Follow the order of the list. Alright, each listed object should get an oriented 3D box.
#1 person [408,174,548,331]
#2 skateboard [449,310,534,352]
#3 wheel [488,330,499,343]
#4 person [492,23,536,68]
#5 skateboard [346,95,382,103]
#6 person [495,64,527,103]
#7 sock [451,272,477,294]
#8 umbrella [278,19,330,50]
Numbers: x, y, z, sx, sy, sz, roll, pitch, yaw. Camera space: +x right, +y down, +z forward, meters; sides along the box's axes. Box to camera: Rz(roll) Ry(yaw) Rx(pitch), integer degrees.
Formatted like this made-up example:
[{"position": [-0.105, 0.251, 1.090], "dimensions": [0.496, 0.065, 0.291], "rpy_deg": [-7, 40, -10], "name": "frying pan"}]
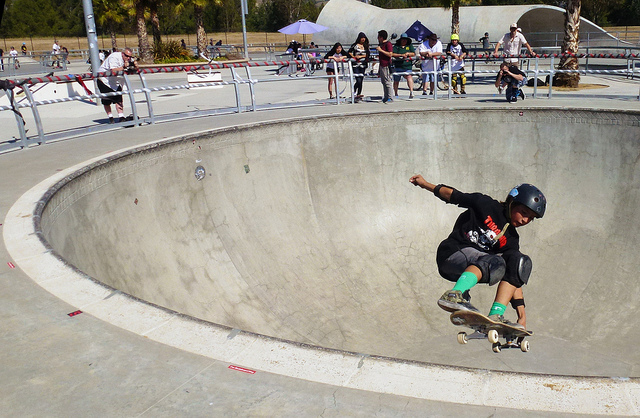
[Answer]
[{"position": [1.687, 0.490, 5.985], "dimensions": [1.535, 1.167, 1.860], "rpy_deg": [13, 64, 7], "name": "person"}, {"position": [1.942, 1.368, 5.850], "dimensions": [1.026, 0.265, 0.439], "rpy_deg": [28, -28, -37], "name": "skateboard"}, {"position": [1.839, 1.361, 5.686], "dimensions": [0.048, 0.147, 0.149], "rpy_deg": [-5, 5, 40], "name": "wheel"}, {"position": [5.222, -4.219, 14.457], "dimensions": [0.987, 1.680, 0.468], "rpy_deg": [6, 52, 19], "name": "person"}, {"position": [1.134, -2.943, 14.134], "dimensions": [0.804, 0.172, 0.440], "rpy_deg": [1, 6, -2], "name": "skateboard"}, {"position": [4.567, -3.060, 12.897], "dimensions": [0.575, 0.970, 0.680], "rpy_deg": [-15, 4, 34], "name": "person"}, {"position": [1.537, 0.794, 5.699], "dimensions": [0.201, 0.190, 0.294], "rpy_deg": [10, 24, 30], "name": "sock"}, {"position": [-0.749, -8.578, 25.048], "dimensions": [1.453, 0.599, 2.050], "rpy_deg": [12, 25, 34], "name": "umbrella"}]
